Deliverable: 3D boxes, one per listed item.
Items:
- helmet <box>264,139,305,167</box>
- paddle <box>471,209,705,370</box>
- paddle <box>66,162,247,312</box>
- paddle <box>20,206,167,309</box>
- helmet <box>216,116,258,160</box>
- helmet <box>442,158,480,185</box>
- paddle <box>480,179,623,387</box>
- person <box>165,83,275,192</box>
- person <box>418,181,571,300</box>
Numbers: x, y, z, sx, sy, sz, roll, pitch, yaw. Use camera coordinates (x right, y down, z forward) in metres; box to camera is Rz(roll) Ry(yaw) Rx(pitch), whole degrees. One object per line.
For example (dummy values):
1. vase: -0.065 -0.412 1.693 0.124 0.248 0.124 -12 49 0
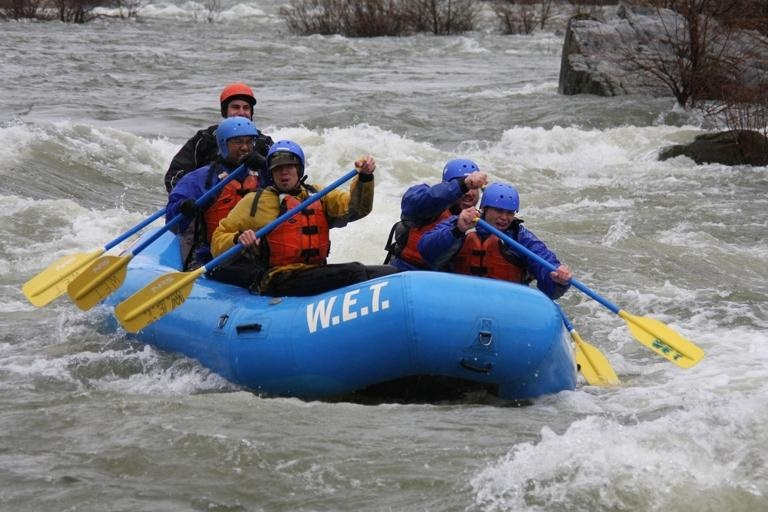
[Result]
1. helmet: -1.094 -1.172 11.562 0.316 0.335 0.302 -4 -1 2
2. paddle: 2.425 0.458 12.116 3.637 0.477 0.233 29 -7 11
3. paddle: -2.765 -0.175 12.651 2.875 0.448 0.103 -28 23 -9
4. paddle: -3.653 0.056 12.880 1.737 0.323 0.072 -23 14 -1
5. helmet: -1.791 -1.443 12.336 0.414 0.347 0.500 -15 13 -40
6. helmet: 0.873 -0.963 11.698 0.375 0.241 0.572 1 12 4
7. paddle: 1.686 0.600 10.515 2.819 0.506 0.193 39 9 -43
8. person: -1.840 -1.689 13.084 1.251 0.811 1.088 0 1 -11
9. person: 1.238 -0.132 11.792 1.455 1.666 0.933 13 -27 -1
